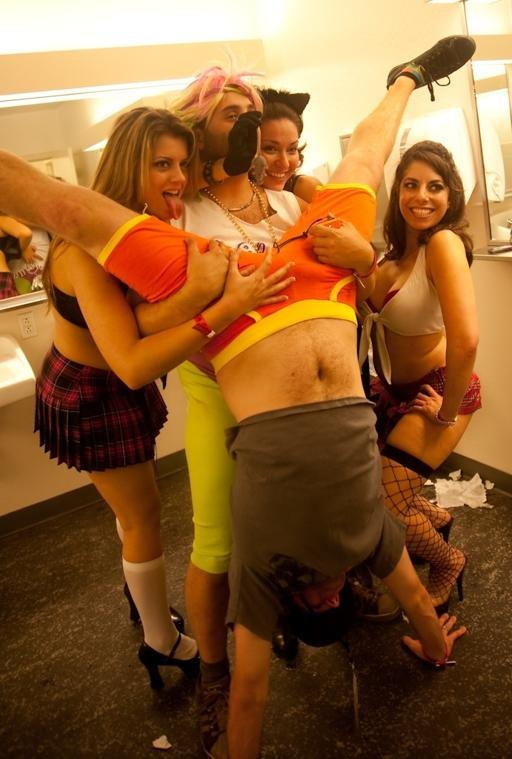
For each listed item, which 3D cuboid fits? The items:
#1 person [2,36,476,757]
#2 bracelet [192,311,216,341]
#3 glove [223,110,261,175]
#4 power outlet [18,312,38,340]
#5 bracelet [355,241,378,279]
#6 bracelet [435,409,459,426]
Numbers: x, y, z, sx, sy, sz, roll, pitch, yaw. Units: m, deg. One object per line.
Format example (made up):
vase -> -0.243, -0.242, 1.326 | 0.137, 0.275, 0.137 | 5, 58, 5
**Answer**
person -> 0.121, 0.141, 1.152 | 0.907, 1.543, 0.477 | -19, 14, -41
bracelet -> -0.084, -0.084, 0.868 | 0.034, 0.035, 0.015 | -39, 9, 9
glove -> -0.026, -0.474, 1.076 | 0.074, 0.125, 0.034 | 4, 11, -22
power outlet -> -1.160, -0.271, 2.675 | 0.115, 0.154, 0.015 | -16, 19, -41
bracelet -> 0.222, -0.218, 1.032 | 0.028, 0.076, 0.067 | 18, 47, 19
bracelet -> 0.568, 0.110, 1.570 | 0.044, 0.021, 0.051 | -1, 9, -2
